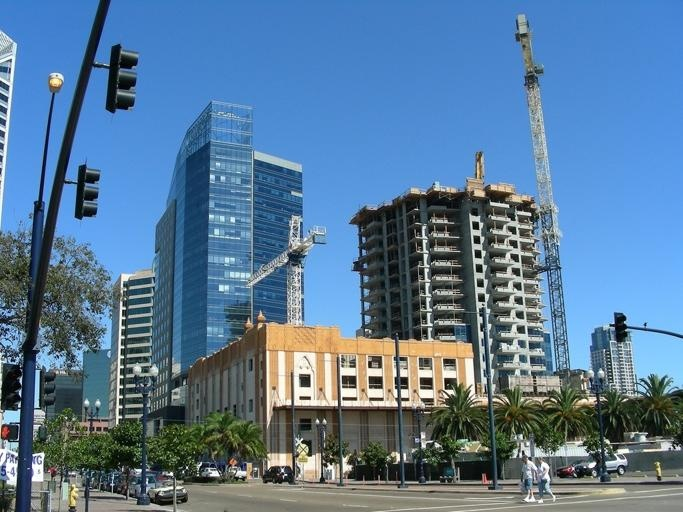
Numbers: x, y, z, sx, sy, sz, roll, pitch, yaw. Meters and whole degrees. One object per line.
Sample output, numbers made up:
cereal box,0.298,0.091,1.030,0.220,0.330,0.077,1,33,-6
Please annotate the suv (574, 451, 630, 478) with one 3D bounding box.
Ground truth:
suv,21.202,16.932,63.070,4.002,1.756,1.950,4,-19,-11

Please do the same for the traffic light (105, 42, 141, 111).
traffic light,-6.645,-5.348,23.420,0.813,1.915,0.654,7,-6,-28

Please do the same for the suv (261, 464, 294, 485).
suv,-6.257,22.004,78.177,1.724,1.296,3.141,7,-11,-30

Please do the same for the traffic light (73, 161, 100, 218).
traffic light,-8.463,-2.130,25.822,0.656,1.750,0.467,4,2,-33

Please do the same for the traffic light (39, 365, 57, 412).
traffic light,-11.717,5.317,30.841,0.603,1.503,0.562,-1,-17,-6
